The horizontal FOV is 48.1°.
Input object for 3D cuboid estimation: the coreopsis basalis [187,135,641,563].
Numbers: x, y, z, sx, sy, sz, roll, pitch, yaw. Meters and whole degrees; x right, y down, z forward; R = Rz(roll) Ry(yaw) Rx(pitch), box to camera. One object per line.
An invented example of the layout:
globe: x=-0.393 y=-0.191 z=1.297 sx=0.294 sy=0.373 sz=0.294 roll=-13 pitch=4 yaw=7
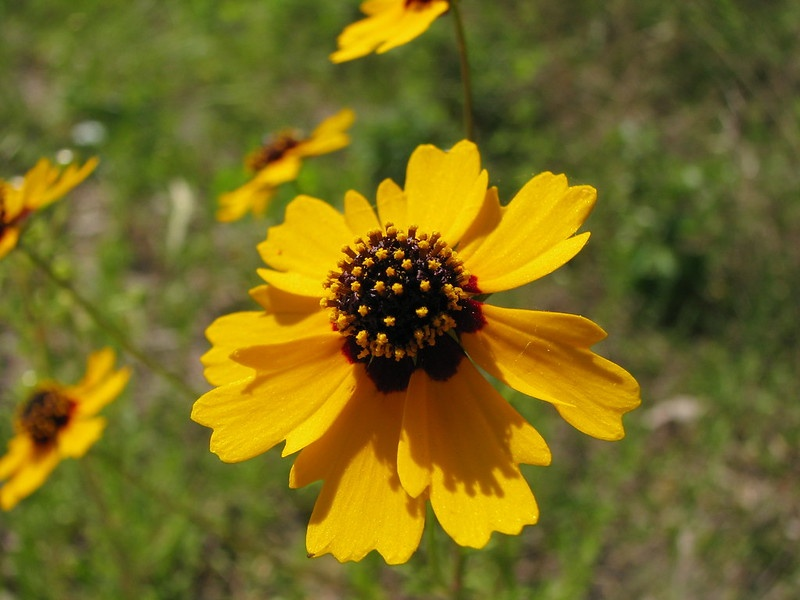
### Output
coreopsis basalis: x=0.022 y=0.168 z=2.982 sx=1.394 sy=0.366 sz=1.328 roll=-15 pitch=83 yaw=0

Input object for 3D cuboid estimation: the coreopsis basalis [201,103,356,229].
coreopsis basalis: x=-0.500 y=-0.497 z=3.781 sx=0.136 sy=0.479 sz=0.518 roll=45 pitch=58 yaw=-22
